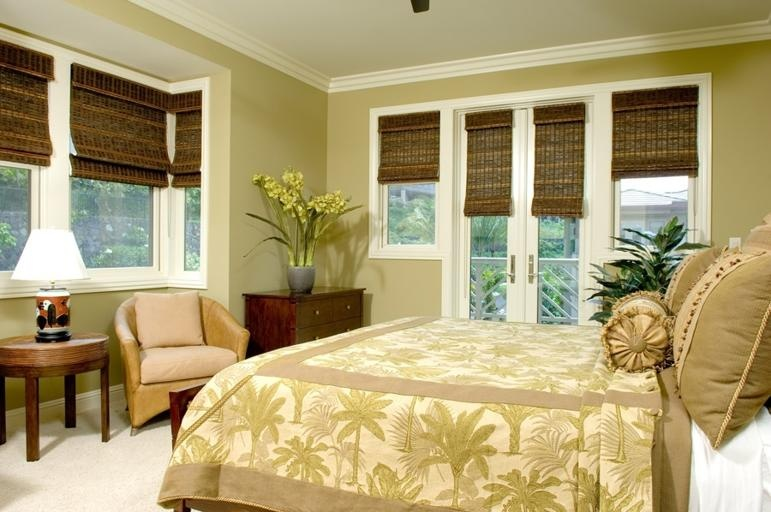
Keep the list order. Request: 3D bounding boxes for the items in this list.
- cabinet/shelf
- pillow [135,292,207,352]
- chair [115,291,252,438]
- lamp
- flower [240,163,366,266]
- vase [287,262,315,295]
[{"bbox_3d":[-0.774,0.722,5.545,0.613,0.786,1.104,5,4,29],"label":"cabinet/shelf"},{"bbox_3d":[-1.844,0.546,4.703,0.558,0.471,0.287,-2,5,-29],"label":"pillow"},{"bbox_3d":[-1.772,0.835,4.645,1.073,0.986,0.952,0,1,-28],"label":"chair"},{"bbox_3d":[-2.522,0.235,4.136,0.499,0.812,0.511,-1,1,13],"label":"lamp"},{"bbox_3d":[-0.930,-0.312,5.476,1.275,0.975,1.174,-14,8,-36],"label":"flower"},{"bbox_3d":[-0.789,0.230,5.279,0.268,0.250,0.269,-1,-2,14],"label":"vase"}]
